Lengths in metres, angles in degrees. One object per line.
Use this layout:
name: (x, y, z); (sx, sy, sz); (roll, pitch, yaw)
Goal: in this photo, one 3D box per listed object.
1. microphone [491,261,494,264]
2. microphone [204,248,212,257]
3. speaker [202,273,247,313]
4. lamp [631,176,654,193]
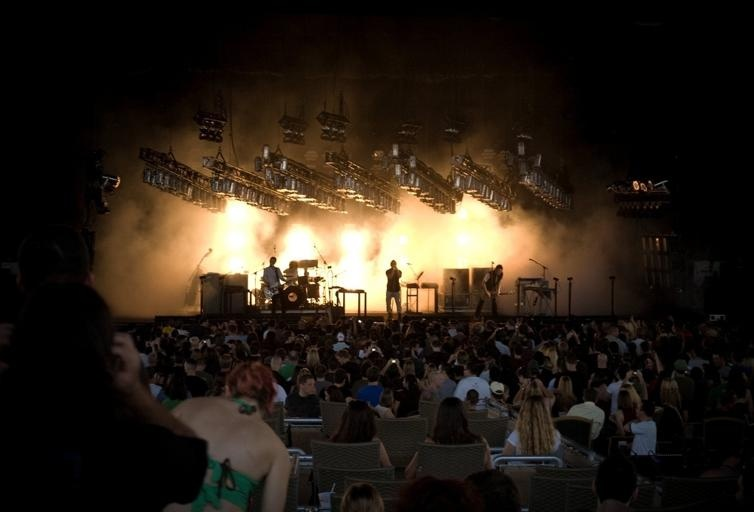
microphone: (4.858, 0.272, 30.667); (0.122, 0.190, 0.099); (-1, -8, 0)
microphone: (-7.046, -0.142, 30.620); (0.108, 0.371, 0.225); (23, -21, 40)
speaker: (-5.296, 1.263, 25.790); (1.443, 1.393, 1.399); (0, 0, 0)
lamp: (9.914, -2.595, 27.260); (0.802, 0.487, 0.266); (1, -5, 18)
